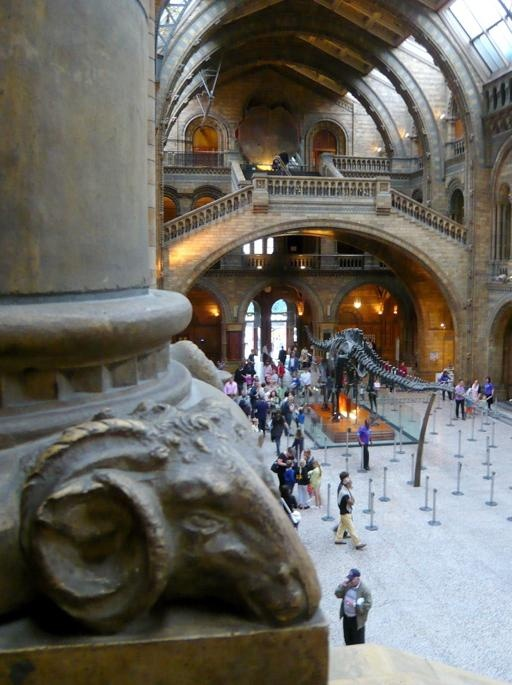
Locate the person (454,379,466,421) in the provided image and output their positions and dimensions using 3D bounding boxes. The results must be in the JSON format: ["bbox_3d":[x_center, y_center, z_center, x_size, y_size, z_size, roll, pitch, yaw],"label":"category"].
[{"bbox_3d":[5.292,1.472,17.923,0.281,1.056,1.376,2,4,17],"label":"person"}]

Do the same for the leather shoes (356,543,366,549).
[{"bbox_3d":[1.328,2.590,8.788,0.164,0.075,0.062,-4,6,3],"label":"leather shoes"}]

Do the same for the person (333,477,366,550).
[{"bbox_3d":[1.233,2.076,9.000,0.376,1.056,1.200,1,4,7],"label":"person"}]
